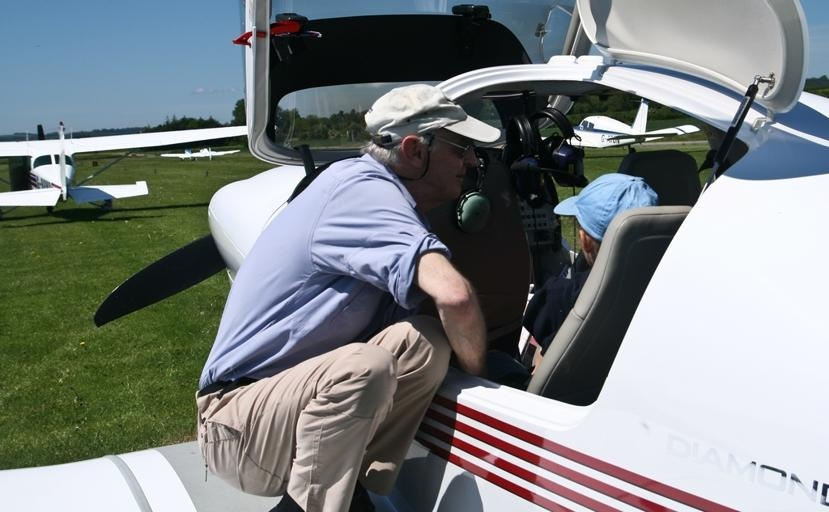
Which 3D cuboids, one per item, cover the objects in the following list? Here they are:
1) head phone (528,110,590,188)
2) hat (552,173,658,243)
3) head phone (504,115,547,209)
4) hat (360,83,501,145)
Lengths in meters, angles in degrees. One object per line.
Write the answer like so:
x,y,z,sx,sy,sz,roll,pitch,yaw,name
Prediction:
0.619,-0.508,2.717,0.168,0.329,0.286,-16,15,-32,head phone
0.686,-0.210,2.150,0.318,0.174,0.244,-2,-14,30,hat
0.492,-0.405,2.685,0.115,0.351,0.270,-7,25,24,head phone
0.043,-0.465,2.100,0.350,0.172,0.235,-1,13,-4,hat
